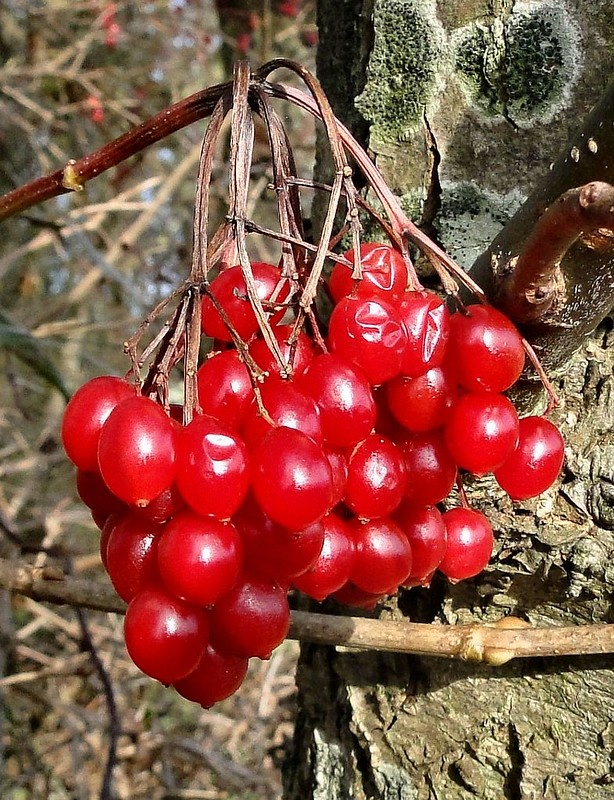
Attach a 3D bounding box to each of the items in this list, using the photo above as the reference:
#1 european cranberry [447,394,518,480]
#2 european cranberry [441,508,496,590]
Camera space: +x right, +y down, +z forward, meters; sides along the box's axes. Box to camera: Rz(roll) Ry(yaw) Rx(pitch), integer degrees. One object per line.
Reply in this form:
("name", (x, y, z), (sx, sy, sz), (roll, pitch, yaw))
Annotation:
("european cranberry", (0.180, 0.033, 0.921), (0.072, 0.070, 0.084), (17, 76, -7))
("european cranberry", (0.183, 0.165, 1.024), (0.084, 0.079, 0.092), (0, 89, -3))
